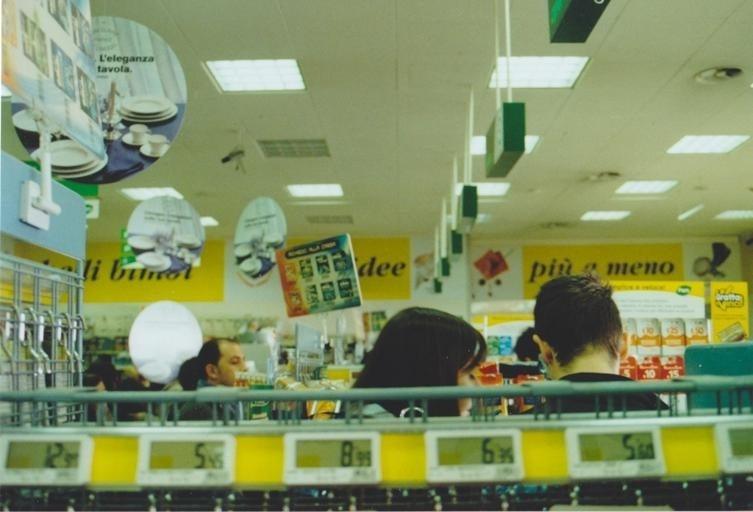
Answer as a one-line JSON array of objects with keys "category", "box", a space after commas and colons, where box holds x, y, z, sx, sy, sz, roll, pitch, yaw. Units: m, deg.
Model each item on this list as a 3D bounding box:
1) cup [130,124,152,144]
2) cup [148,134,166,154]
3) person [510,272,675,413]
[{"category": "cup", "box": [-1.283, -0.670, 4.474, 0.117, 0.090, 0.089, 8, -50, -20]}, {"category": "cup", "box": [-1.192, -0.617, 4.474, 0.111, 0.071, 0.073, 2, -49, -22]}, {"category": "person", "box": [1.064, 0.493, 4.147, 0.723, 0.727, 0.425, 8, -32, -7]}]
